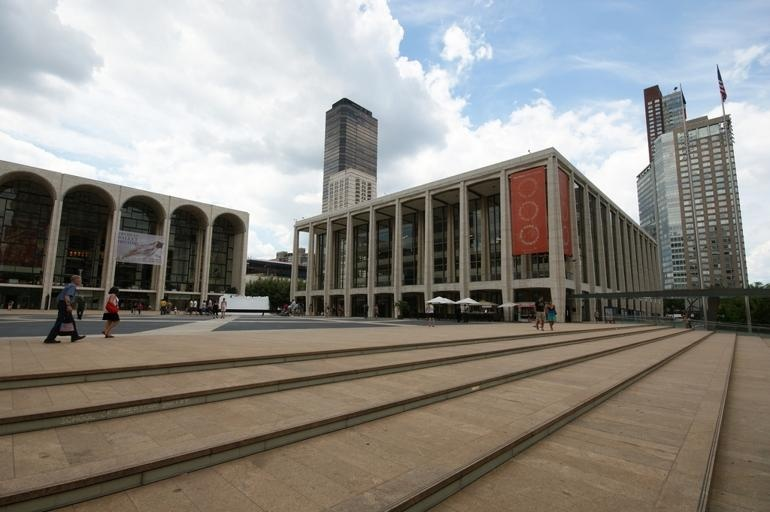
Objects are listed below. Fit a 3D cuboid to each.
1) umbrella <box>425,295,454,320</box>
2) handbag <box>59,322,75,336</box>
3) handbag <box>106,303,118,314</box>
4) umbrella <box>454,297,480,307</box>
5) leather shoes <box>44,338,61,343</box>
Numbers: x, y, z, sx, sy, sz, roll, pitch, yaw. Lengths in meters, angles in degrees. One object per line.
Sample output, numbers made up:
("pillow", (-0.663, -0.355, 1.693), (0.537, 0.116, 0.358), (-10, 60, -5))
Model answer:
("umbrella", (5.269, 4.854, 41.203), (2.270, 1.485, 2.177), (3, -8, -8))
("handbag", (-7.742, 1.732, 10.574), (0.326, 0.307, 0.298), (-1, 20, -15))
("handbag", (-7.755, 1.456, 12.369), (0.363, 0.252, 0.370), (-8, -6, 42))
("umbrella", (7.459, 3.925, 37.747), (1.390, 0.473, 1.359), (5, -10, -18))
("leather shoes", (-7.910, 1.983, 10.237), (0.317, 0.133, 0.102), (6, -9, -29))
